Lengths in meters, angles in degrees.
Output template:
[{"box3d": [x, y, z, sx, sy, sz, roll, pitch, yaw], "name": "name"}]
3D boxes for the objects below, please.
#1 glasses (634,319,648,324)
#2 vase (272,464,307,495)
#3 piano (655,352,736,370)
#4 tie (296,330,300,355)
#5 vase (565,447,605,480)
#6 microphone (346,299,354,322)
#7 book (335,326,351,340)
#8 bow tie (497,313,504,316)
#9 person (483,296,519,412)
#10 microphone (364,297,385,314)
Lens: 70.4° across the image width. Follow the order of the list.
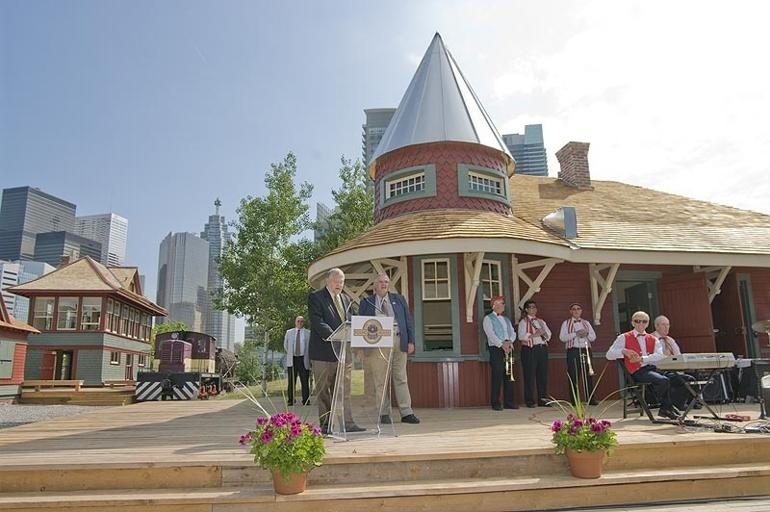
[{"box3d": [4.875, 1.239, 10.423, 0.234, 0.060, 0.128, -5, -15, 10], "name": "glasses"}, {"box3d": [-1.316, 3.020, 7.434, 0.397, 0.253, 0.393, 8, -20, -27], "name": "vase"}, {"box3d": [5.814, 1.980, 10.211, 1.305, 0.301, 0.461, 0, -15, -8], "name": "piano"}, {"box3d": [-2.157, 2.134, 13.413, 0.173, 0.595, 0.108, -6, -15, 16], "name": "tie"}, {"box3d": [2.898, 3.017, 7.925, 0.449, 0.303, 0.452, 3, -11, -4], "name": "vase"}, {"box3d": [-0.673, 0.960, 9.773, 0.226, 0.290, 0.306, 1, -22, -6], "name": "microphone"}, {"box3d": [-0.730, 1.280, 9.024, 0.252, 0.241, 0.069, -9, -12, 25], "name": "book"}, {"box3d": [2.591, 1.339, 12.420, 0.007, 0.062, 0.273, -4, -8, 43], "name": "bow tie"}, {"box3d": [2.588, 2.196, 12.309, 0.621, 2.455, 0.754, -11, -17, 30], "name": "person"}, {"box3d": [-0.265, 0.926, 10.024, 0.254, 0.295, 0.356, 2, -10, -17], "name": "microphone"}]
